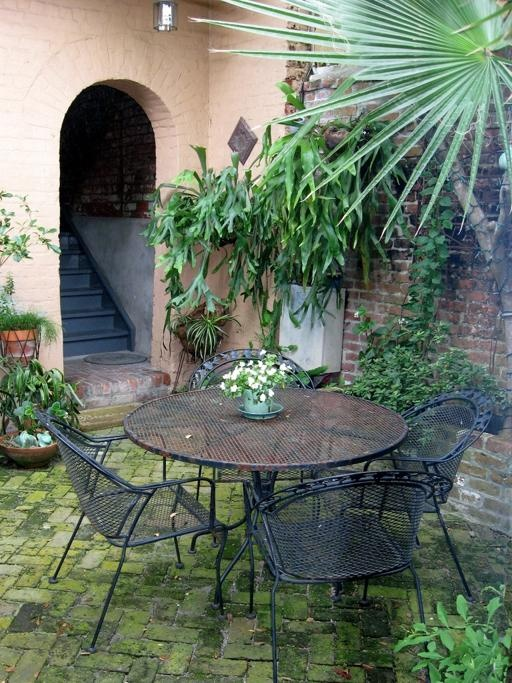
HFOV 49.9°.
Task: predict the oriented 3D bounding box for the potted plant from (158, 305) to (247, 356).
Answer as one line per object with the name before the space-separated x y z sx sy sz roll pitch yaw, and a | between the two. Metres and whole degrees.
potted plant | -0.430 -0.038 4.746 0.509 0.328 0.510 19 17 39

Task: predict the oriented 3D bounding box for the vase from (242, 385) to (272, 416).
vase | -0.006 0.237 2.259 0.122 0.080 0.115 -2 13 -12

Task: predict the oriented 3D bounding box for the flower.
flower | 0.009 0.158 2.348 0.310 0.194 0.293 -2 12 -3

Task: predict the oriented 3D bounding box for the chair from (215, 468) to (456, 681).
chair | 0.207 0.591 1.850 0.725 0.835 0.634 -4 26 -7

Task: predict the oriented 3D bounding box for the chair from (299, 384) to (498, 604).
chair | 0.617 0.617 2.561 0.816 0.950 0.834 0 6 -4
